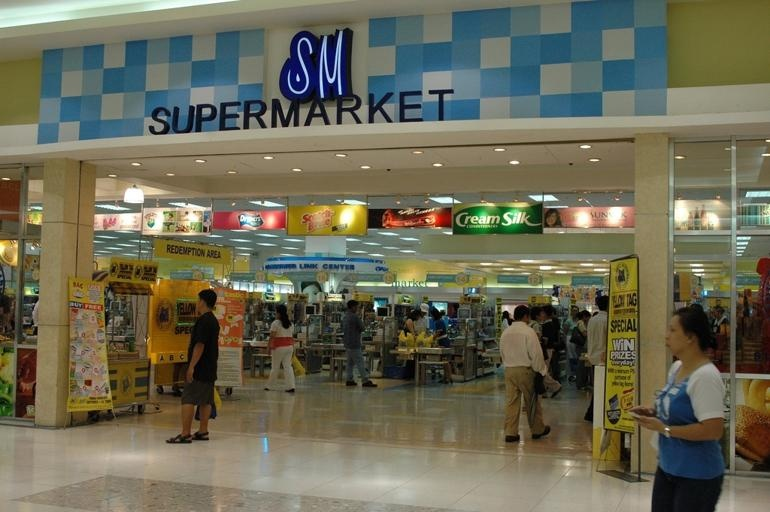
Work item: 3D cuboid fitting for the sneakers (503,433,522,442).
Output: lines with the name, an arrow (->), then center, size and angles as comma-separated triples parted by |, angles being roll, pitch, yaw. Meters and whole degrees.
sneakers -> 1.815, 2.632, 9.007 | 0.098, 0.121, 0.291 | -4, -16, 18

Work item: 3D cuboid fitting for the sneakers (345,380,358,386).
sneakers -> -0.783, 2.940, 14.477 | 0.301, 0.120, 0.099 | 1, 0, -29

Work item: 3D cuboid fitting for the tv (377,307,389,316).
tv -> -0.069, 1.626, 18.201 | 0.400, 0.277, 0.214 | 1, 1, 20

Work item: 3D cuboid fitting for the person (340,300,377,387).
person -> -0.656, 1.992, 14.113 | 0.599, 1.984, 1.113 | -2, -4, -2

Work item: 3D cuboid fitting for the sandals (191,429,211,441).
sandals -> -2.585, 2.531, 8.787 | 0.235, 0.093, 0.103 | 2, -4, 7

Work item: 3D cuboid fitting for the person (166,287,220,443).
person -> -2.636, 1.516, 8.677 | 0.626, 2.104, 0.719 | -1, -4, -18

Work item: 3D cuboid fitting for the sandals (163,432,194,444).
sandals -> -2.842, 2.514, 8.617 | 0.373, 0.139, 0.131 | 4, -7, 1

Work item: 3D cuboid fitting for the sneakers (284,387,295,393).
sneakers -> -2.016, 2.856, 13.267 | 0.232, 0.093, 0.075 | 3, 0, 18

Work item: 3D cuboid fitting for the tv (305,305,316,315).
tv -> -2.097, 1.541, 17.972 | 0.387, 0.345, 0.201 | 1, 3, 0

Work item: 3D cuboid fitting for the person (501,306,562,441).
person -> 2.117, 1.729, 9.292 | 0.875, 1.968, 0.765 | 0, -3, -5

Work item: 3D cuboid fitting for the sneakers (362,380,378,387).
sneakers -> -0.315, 2.932, 14.342 | 0.413, 0.252, 0.135 | -1, -4, 6

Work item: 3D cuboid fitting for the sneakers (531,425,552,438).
sneakers -> 2.364, 2.684, 9.477 | 0.130, 0.174, 0.400 | 1, 7, 30
